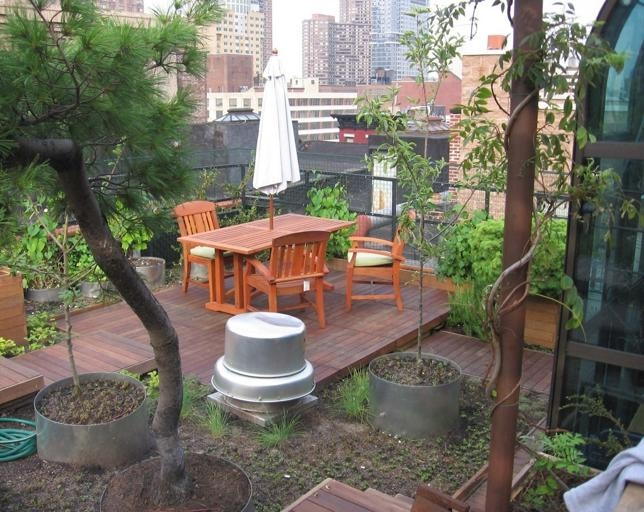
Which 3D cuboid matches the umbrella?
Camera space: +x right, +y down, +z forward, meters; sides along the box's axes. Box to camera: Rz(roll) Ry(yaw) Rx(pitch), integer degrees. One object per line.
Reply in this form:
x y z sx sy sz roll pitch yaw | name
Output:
-0.585 -1.413 6.747 0.583 2.224 0.502 -2 12 -9 | umbrella
